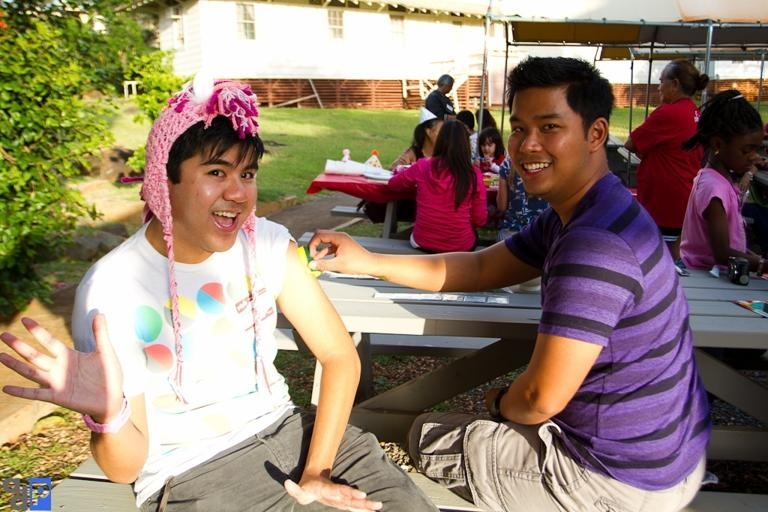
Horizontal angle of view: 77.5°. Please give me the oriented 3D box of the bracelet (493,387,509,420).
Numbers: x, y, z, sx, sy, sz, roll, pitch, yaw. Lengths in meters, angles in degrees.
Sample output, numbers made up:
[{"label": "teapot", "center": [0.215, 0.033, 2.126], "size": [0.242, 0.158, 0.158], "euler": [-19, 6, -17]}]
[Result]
[{"label": "bracelet", "center": [0.514, 0.664, 2.153], "size": [0.113, 0.129, 0.057], "euler": [11, -14, -34]}]

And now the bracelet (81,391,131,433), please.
[{"label": "bracelet", "center": [-0.876, 0.502, 1.517], "size": [0.118, 0.056, 0.130], "euler": [-12, 25, -6]}]
